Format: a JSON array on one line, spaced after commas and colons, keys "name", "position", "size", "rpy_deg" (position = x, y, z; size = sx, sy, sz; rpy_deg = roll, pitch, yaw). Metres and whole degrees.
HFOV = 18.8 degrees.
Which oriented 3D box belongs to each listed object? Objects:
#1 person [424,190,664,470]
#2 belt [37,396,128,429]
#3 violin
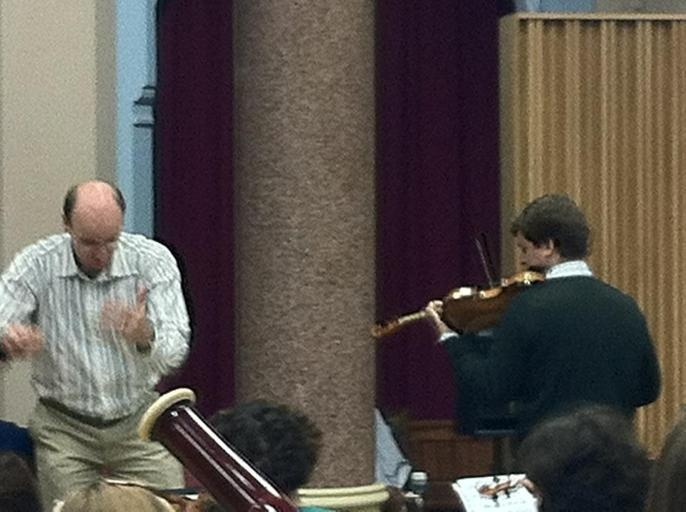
[{"name": "person", "position": [1.092, 0.356, 11.228], "size": [1.063, 1.288, 0.568], "rpy_deg": [-4, 0, 40]}, {"name": "belt", "position": [-1.408, 0.854, 11.381], "size": [0.431, 0.150, 0.388], "rpy_deg": [2, -4, -10]}, {"name": "violin", "position": [0.675, 0.283, 11.942], "size": [0.988, 0.138, 0.390], "rpy_deg": [-19, -29, 10]}]
